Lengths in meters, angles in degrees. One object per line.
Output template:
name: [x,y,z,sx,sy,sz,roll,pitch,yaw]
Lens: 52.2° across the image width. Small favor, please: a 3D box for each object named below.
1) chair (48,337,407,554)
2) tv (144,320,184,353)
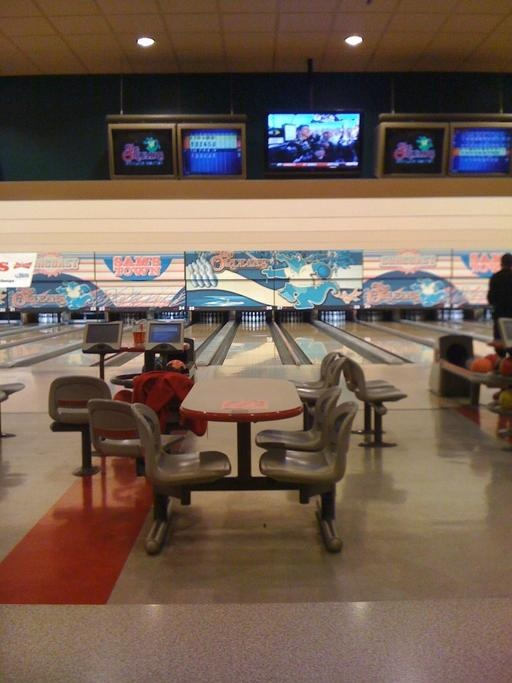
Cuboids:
chair: [-0.028,0.456,2.450,0.971,0.606,1.404,0,5,10]
tv: [-0.698,-0.030,3.978,0.265,0.097,0.224,0,50,-4]
